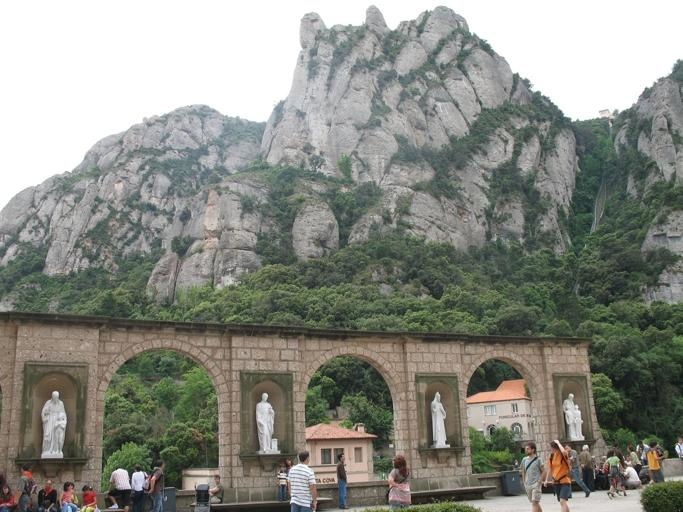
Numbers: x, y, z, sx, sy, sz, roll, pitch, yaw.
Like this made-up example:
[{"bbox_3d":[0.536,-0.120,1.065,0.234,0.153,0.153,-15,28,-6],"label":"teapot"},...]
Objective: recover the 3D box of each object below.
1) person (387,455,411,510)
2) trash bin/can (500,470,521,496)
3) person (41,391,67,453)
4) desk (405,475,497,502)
[{"bbox_3d":[1.386,5.315,15.294,0.526,1.167,0.950,7,2,8],"label":"person"},{"bbox_3d":[5.841,7.837,22.674,0.703,0.711,0.383,13,-25,-29],"label":"trash bin/can"},{"bbox_3d":[-8.487,4.967,19.455,0.664,1.274,0.721,5,2,-24],"label":"person"},{"bbox_3d":[3.779,7.993,22.021,2.465,0.862,0.580,4,-10,-25],"label":"desk"}]
